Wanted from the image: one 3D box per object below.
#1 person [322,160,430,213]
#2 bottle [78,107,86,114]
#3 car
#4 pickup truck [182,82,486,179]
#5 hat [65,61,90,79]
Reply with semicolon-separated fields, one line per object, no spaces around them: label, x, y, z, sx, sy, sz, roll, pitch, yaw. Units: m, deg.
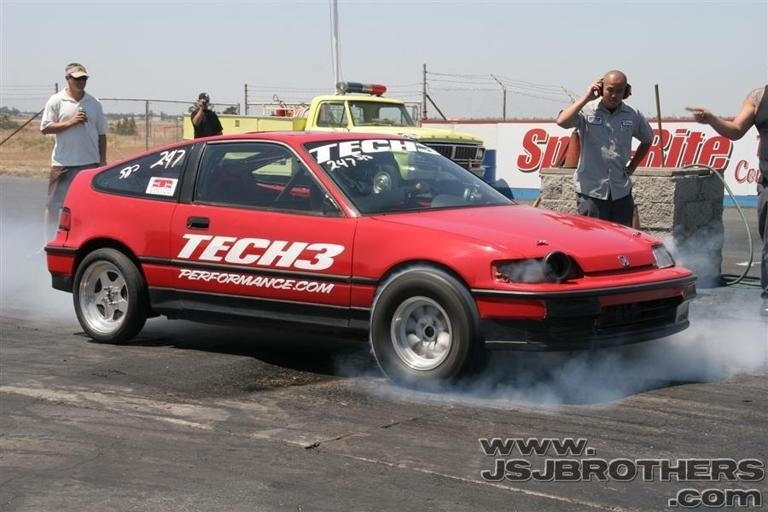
person;-0.095;-0.578;5.677;0.841;0.210;0.497;2;14;-6
bottle;-4.212;-1.957;8.986;0.102;0.060;0.091;-2;-8;10
car;-0.334;0.006;6.033;5.103;1.382;2.422;1;2;27
pickup truck;-0.185;-3.196;17.441;5.872;2.048;2.564;-6;19;-44
hat;-4.176;-2.429;8.744;0.242;0.188;0.464;-5;10;-24
